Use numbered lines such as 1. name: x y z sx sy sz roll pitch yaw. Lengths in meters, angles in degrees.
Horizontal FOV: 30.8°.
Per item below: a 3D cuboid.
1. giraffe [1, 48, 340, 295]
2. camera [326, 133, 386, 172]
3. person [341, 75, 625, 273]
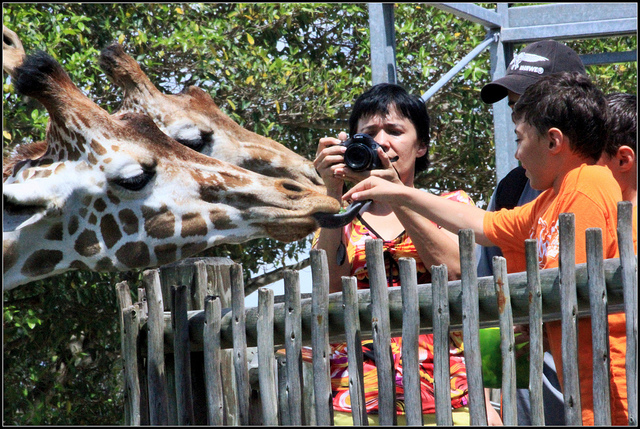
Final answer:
1. giraffe: -1.531 -0.465 8.309 3.127 1.520 1.154 -4 32 -6
2. camera: 0.261 -0.406 7.981 0.358 0.187 0.257 0 -2 16
3. person: 1.240 -0.253 7.618 1.398 1.297 0.478 -3 3 11
